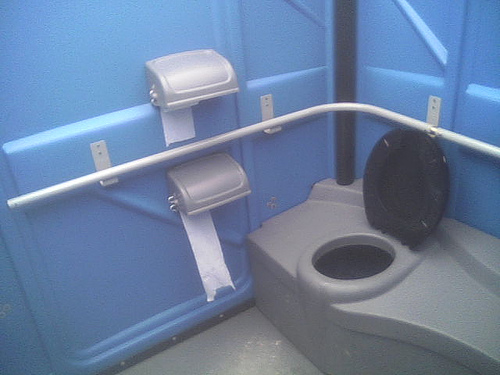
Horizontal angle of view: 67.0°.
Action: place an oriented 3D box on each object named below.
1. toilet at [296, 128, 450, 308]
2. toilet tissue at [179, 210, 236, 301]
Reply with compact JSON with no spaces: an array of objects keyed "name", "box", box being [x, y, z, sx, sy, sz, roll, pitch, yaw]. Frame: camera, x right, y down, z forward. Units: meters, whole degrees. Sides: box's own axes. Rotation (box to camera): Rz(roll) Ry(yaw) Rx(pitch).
[{"name":"toilet","box":[0.531,0.144,1.695,0.729,0.674,0.456,-24,28,-27]},{"name":"toilet tissue","box":[-0.209,0.303,1.817,0.152,0.446,0.219,-15,30,-14]}]
